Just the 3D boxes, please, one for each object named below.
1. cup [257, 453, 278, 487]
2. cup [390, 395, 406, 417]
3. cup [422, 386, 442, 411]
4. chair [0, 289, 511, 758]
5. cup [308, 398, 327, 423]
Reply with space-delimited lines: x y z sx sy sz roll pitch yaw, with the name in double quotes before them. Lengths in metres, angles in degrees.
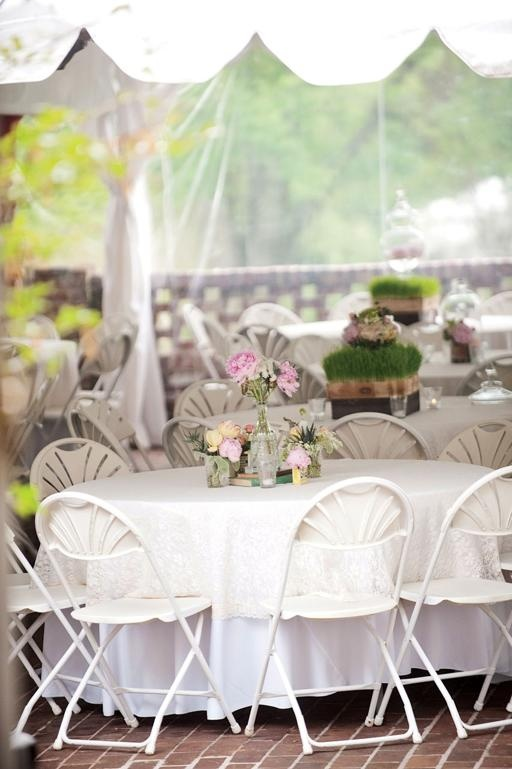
"cup" 0.042 0.300 2.601 0.100 0.117 0.097 -1 2 0
"cup" 0.730 0.112 3.816 0.098 0.106 0.098 -1 -7 0
"cup" 0.958 0.074 4.132 0.121 0.125 0.117 0 -1 0
"chair" 0.099 0.694 2.559 1.506 0.709 0.701 -3 -2 -14
"cup" 0.342 0.129 3.822 0.118 0.110 0.113 -1 -1 0
